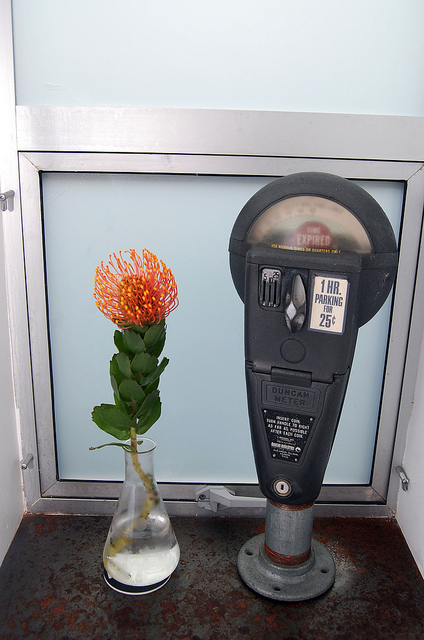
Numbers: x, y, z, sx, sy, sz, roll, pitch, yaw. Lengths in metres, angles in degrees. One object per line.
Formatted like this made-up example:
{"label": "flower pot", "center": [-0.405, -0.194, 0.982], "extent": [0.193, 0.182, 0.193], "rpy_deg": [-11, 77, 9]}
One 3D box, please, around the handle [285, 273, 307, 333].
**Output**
{"label": "handle", "center": [0.118, -0.024, 0.740], "extent": [0.030, 0.084, 0.012], "rpy_deg": [2, 12, 7]}

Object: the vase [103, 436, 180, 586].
{"label": "vase", "center": [-0.131, 0.356, 0.918], "extent": [0.108, 0.259, 0.113], "rpy_deg": [16, 28, 24]}

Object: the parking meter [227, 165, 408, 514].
{"label": "parking meter", "center": [0.135, 0.063, 0.794], "extent": [0.249, 0.558, 0.104], "rpy_deg": [4, 12, 18]}
